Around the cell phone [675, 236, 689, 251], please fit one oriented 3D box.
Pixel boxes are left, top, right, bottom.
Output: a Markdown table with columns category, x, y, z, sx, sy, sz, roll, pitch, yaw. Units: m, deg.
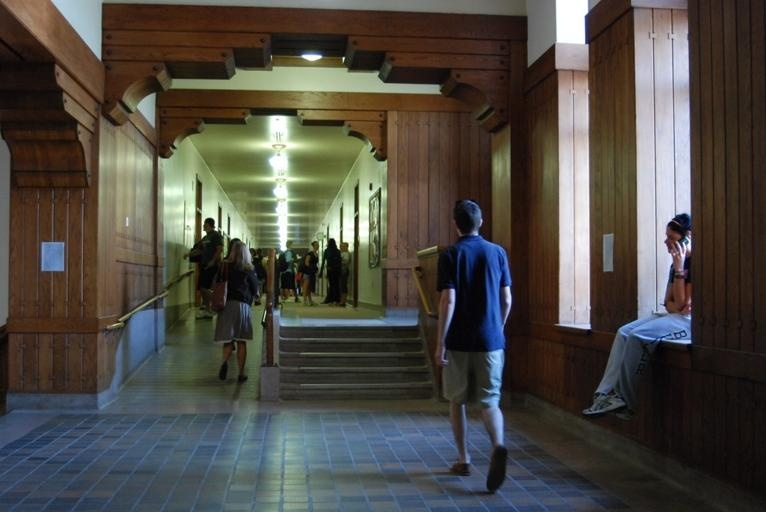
| category | x | y | z | sx | sy | sz | roll | pitch | yaw |
| --- | --- | --- | --- | --- | --- | --- | --- | --- | --- |
| cell phone | 2.710 | -0.119 | 5.431 | 0.128 | 0.135 | 0.079 | -6 | 7 | -22 |

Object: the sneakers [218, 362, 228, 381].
| category | x | y | z | sx | sy | sz | roll | pitch | yaw |
| --- | --- | --- | --- | --- | --- | --- | --- | --- | --- |
| sneakers | -2.320 | 1.648 | 8.702 | 0.116 | 0.345 | 0.142 | 8 | 13 | -7 |

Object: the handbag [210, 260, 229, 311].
| category | x | y | z | sx | sy | sz | roll | pitch | yaw |
| --- | --- | --- | --- | --- | --- | --- | --- | --- | --- |
| handbag | -2.358 | 0.423 | 8.611 | 0.220 | 0.722 | 0.358 | 0 | 1 | -10 |

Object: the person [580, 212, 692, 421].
| category | x | y | z | sx | sy | sz | roll | pitch | yaw |
| --- | --- | --- | --- | --- | --- | --- | --- | --- | --- |
| person | 2.322 | 0.498 | 5.348 | 0.830 | 1.775 | 0.502 | 0 | 0 | 18 |

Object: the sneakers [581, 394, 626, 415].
| category | x | y | z | sx | sy | sz | roll | pitch | yaw |
| --- | --- | --- | --- | --- | --- | --- | --- | --- | --- |
| sneakers | 1.936 | 1.303 | 5.335 | 0.420 | 0.163 | 0.209 | 0 | 1 | -12 |

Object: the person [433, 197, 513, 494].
| category | x | y | z | sx | sy | sz | roll | pitch | yaw |
| --- | --- | --- | --- | --- | --- | --- | --- | --- | --- |
| person | 0.778 | 0.720 | 5.175 | 0.613 | 2.422 | 0.618 | 0 | 0 | 13 |

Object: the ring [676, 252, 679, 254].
| category | x | y | z | sx | sy | sz | roll | pitch | yaw |
| --- | --- | --- | --- | --- | --- | --- | --- | --- | --- |
| ring | 2.628 | -0.035 | 5.330 | 0.020 | 0.022 | 0.011 | 0 | -7 | 2 |

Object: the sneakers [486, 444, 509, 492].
| category | x | y | z | sx | sy | sz | roll | pitch | yaw |
| --- | --- | --- | --- | --- | --- | --- | --- | --- | --- |
| sneakers | 0.925 | 1.720 | 4.847 | 0.140 | 0.414 | 0.163 | 4 | 5 | 4 |
